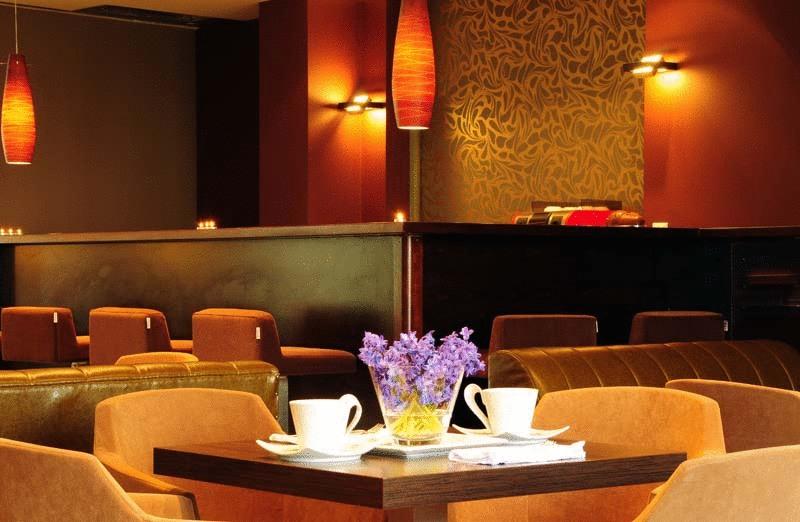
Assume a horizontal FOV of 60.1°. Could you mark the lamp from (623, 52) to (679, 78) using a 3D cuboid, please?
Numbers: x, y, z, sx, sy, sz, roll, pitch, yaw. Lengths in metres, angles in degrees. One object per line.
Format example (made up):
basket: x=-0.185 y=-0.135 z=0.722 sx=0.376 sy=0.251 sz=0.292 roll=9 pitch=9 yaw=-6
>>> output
lamp: x=2.439 y=-1.865 z=6.692 sx=0.308 sy=0.155 sz=0.324 roll=0 pitch=-1 yaw=-40

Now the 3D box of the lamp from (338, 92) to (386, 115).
lamp: x=-0.508 y=-2.003 z=8.926 sx=0.333 sy=0.247 sz=0.450 roll=1 pitch=1 yaw=9

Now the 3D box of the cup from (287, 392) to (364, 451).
cup: x=-0.175 y=0.380 z=1.648 sx=0.159 sy=0.112 sz=0.114 roll=6 pitch=-11 yaw=-34

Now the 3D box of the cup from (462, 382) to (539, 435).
cup: x=0.259 y=0.368 z=1.779 sx=0.178 sy=0.121 sz=0.131 roll=-2 pitch=-5 yaw=14

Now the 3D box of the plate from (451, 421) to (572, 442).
plate: x=0.266 y=0.443 z=1.769 sx=0.158 sy=0.027 sz=0.175 roll=-5 pitch=-7 yaw=28
